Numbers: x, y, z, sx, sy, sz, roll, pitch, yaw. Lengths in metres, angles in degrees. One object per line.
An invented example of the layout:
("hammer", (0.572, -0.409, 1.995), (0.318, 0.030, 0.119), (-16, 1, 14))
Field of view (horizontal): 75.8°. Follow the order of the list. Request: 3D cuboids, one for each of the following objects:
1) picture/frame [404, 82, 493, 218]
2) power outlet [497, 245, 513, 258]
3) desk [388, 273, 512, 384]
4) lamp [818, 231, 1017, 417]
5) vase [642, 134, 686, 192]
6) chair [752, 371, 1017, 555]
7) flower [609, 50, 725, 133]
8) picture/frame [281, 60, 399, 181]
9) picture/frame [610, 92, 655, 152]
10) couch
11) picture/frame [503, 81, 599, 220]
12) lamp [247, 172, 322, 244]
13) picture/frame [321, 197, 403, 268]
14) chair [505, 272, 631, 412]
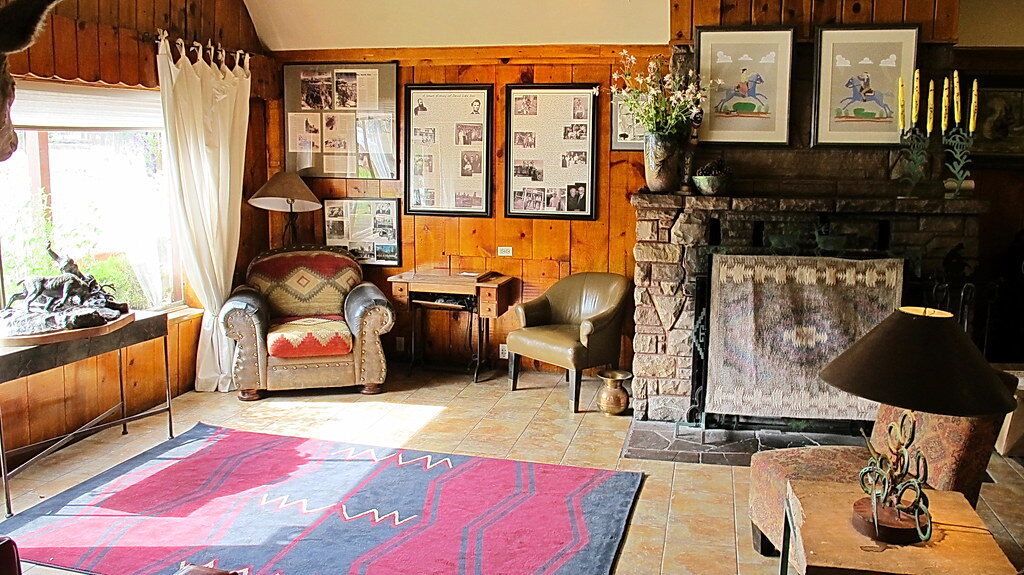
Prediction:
("picture/frame", (-0.656, -1.417, 6.921), (1.153, 1.349, 0.064), (-11, 19, -40))
("power outlet", (-0.078, -0.382, 6.949), (0.214, 0.130, 0.110), (1, 0, 5))
("desk", (-0.644, 0.385, 6.951), (1.260, 0.886, 0.799), (3, -2, 13))
("lamp", (1.962, 0.262, 3.198), (0.680, 0.407, 0.632), (3, 12, -9))
("vase", (1.391, -1.080, 5.775), (0.467, 0.486, 0.445), (-5, 9, -27))
("chair", (2.146, 1.235, 4.465), (1.555, 1.473, 1.124), (2, 3, 15))
("flower", (1.307, -1.535, 5.712), (0.632, 0.432, 0.607), (9, 11, -16))
("picture/frame", (-1.793, -1.836, 7.047), (1.562, 1.317, 0.097), (2, 5, 7))
("picture/frame", (1.183, -1.646, 6.542), (0.521, 0.516, 0.036), (-14, 20, -33))
("couch", (-2.053, 0.288, 6.648), (1.691, 1.221, 1.277), (-6, 21, -24))
("picture/frame", (0.392, -1.383, 6.706), (0.905, 1.311, 0.267), (1, 12, 2))
("lamp", (-2.337, -0.800, 6.823), (0.699, 0.783, 0.751), (-3, 12, -19))
("picture/frame", (-1.596, -0.617, 7.142), (0.879, 0.719, 0.056), (1, 8, 9))
("chair", (0.593, 0.452, 6.424), (1.170, 1.024, 1.121), (-8, 14, -19))
